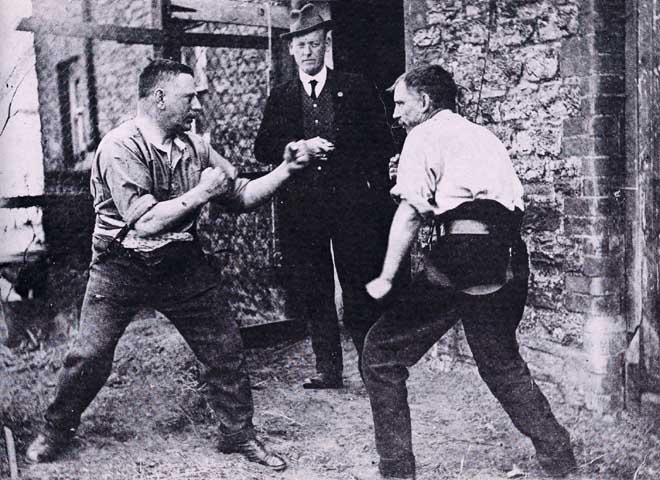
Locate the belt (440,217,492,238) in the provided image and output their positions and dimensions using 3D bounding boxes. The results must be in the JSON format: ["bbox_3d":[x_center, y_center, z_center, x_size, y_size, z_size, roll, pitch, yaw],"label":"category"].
[{"bbox_3d":[0.808,-0.072,5.439,0.285,0.099,0.053,1,7,6],"label":"belt"}]

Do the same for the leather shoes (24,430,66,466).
[{"bbox_3d":[-1.830,1.339,5.961,0.276,0.166,0.126,-37,-5,-3],"label":"leather shoes"}]
